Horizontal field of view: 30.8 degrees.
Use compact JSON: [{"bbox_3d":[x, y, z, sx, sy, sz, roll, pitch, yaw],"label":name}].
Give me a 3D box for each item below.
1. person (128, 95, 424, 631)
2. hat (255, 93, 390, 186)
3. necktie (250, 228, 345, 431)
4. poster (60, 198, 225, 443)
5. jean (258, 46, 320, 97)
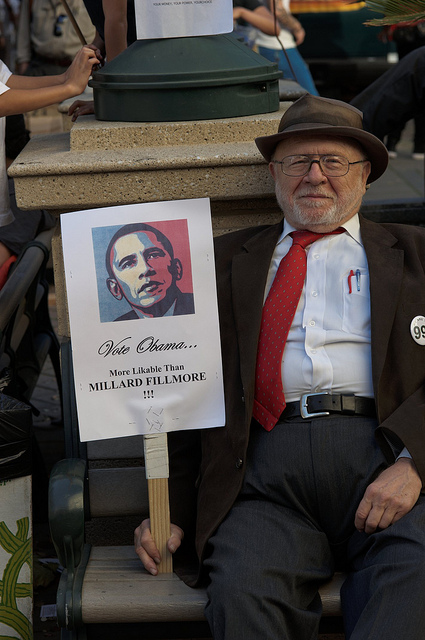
[{"bbox_3d":[0.238,0.119,2.225,0.868,1.361,1.212,-2,23,2],"label":"person"},{"bbox_3d":[0.360,-0.632,2.561,0.510,0.172,0.413,6,1,-40],"label":"hat"},{"bbox_3d":[0.257,0.021,2.392,0.180,0.588,0.158,11,-22,-6],"label":"necktie"},{"bbox_3d":[-0.192,-0.003,2.258,0.516,0.690,0.008,-7,5,-35],"label":"poster"},{"bbox_3d":[0.485,-1.667,5.096,0.351,0.275,0.643,-1,23,4],"label":"jean"}]
